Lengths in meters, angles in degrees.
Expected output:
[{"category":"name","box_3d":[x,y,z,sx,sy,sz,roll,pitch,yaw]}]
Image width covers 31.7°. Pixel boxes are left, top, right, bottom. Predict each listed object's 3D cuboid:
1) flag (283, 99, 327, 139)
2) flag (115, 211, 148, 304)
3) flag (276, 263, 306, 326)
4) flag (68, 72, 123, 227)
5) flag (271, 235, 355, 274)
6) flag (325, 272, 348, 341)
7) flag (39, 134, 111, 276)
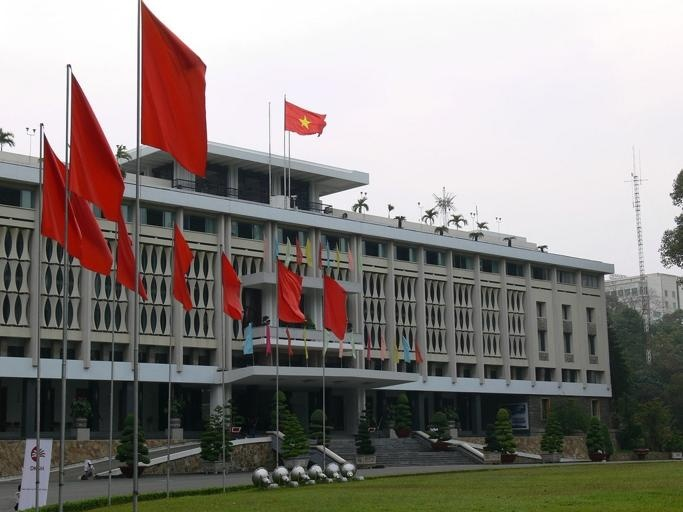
[{"category":"flag","box_3d":[-2.650,-9.283,81.843,2.455,2.202,0.409,0,-15,-11]},{"category":"flag","box_3d":[-9.606,0.168,53.379,0.926,6.322,1.262,10,-12,-42]},{"category":"flag","box_3d":[-3.074,2.057,69.005,1.024,3.393,1.926,-12,-17,31]},{"category":"flag","box_3d":[-10.410,-4.626,50.498,2.008,6.559,0.561,1,-15,-14]},{"category":"flag","box_3d":[-1.920,-0.347,86.614,5.145,2.620,1.872,0,-10,14]},{"category":"flag","box_3d":[-0.394,2.758,69.048,1.199,3.782,1.390,-2,-14,-3]},{"category":"flag","box_3d":[-11.869,-2.264,53.094,5.405,7.176,0.787,16,14,26]}]
